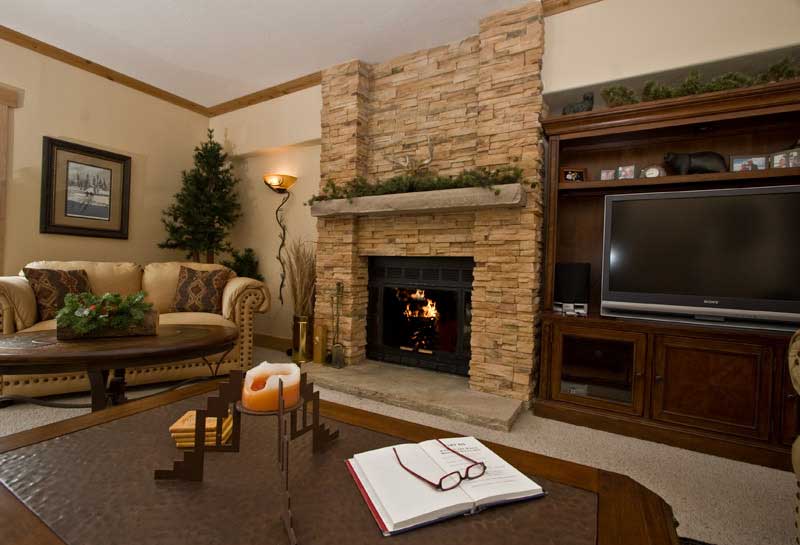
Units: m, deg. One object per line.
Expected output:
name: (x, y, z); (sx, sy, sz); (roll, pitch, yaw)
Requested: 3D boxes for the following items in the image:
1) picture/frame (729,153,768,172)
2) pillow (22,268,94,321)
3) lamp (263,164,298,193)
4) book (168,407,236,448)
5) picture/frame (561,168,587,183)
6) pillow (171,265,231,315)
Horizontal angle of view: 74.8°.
picture/frame: (2.760, -0.873, 4.144); (0.216, 0.201, 0.021); (12, -30, 34)
pillow: (-3.180, 0.219, 4.846); (0.185, 0.544, 0.609); (-20, -9, 28)
lamp: (-1.459, -1.132, 6.278); (0.399, 0.168, 0.390); (5, -8, -37)
book: (-1.066, 0.834, 2.804); (0.280, 0.098, 0.287); (0, 0, 0)
picture/frame: (1.515, -0.859, 4.574); (0.249, 0.121, 0.153); (2, -2, 13)
pillow: (-2.070, 0.155, 5.442); (0.540, 0.460, 0.154); (3, -18, 3)
